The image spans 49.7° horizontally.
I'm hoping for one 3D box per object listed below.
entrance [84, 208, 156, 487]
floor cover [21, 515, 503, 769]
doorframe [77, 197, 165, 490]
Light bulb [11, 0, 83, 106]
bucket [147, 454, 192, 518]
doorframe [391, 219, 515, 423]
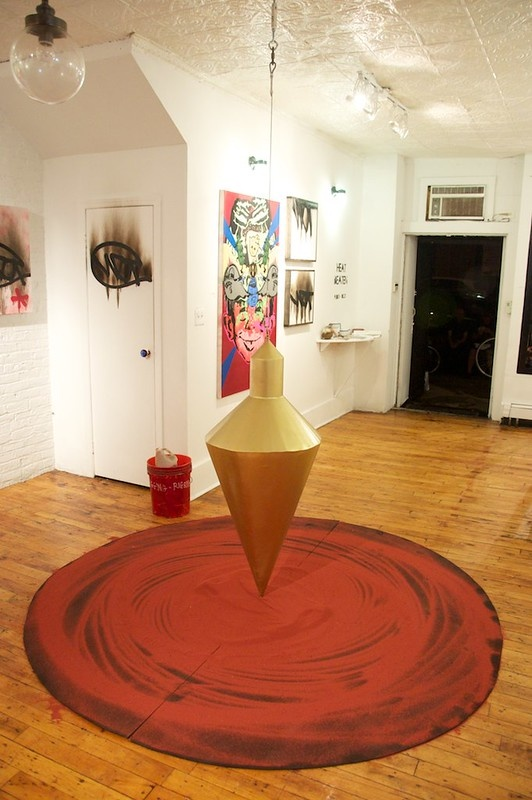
[{"bbox_3d":[-0.993,-0.369,4.077,0.675,1.993,0.151,7,12,26],"label":"entrance"},{"bbox_3d":[-0.042,0.937,2.046,1.007,0.028,1.019,7,12,21],"label":"floor cover"},{"bbox_3d":[-1.015,-0.349,4.066,0.733,1.956,0.208,7,10,38],"label":"doorframe"},{"bbox_3d":[-0.513,-0.844,1.360,0.132,0.272,0.147,3,8,13],"label":"Light bulb"},{"bbox_3d":[-0.583,0.533,3.697,0.349,0.392,0.361,-1,5,0],"label":"bucket"},{"bbox_3d":[2.304,-0.960,7.319,1.192,2.111,0.996,3,8,12],"label":"doorframe"}]
